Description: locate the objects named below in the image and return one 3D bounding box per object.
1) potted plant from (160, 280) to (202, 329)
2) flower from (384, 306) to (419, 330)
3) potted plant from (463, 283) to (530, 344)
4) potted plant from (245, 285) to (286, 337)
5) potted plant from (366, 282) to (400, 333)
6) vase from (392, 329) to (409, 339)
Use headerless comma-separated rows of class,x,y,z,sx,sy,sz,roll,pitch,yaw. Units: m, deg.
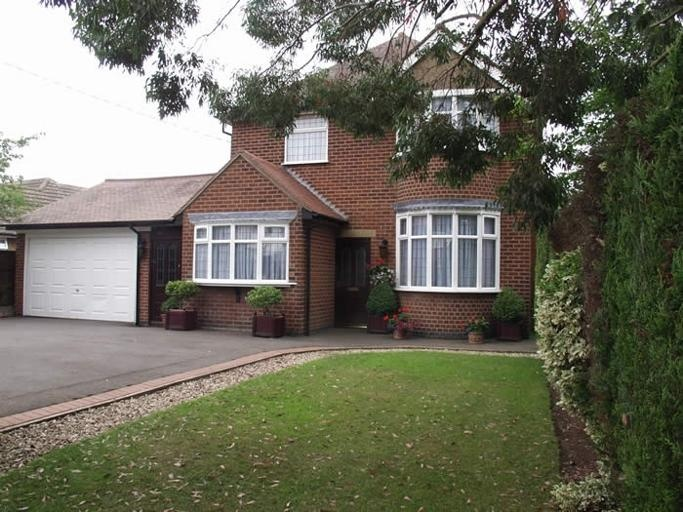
potted plant,-4.431,1.343,16.700,0.825,1.412,0.903,3,-3,22
flower,1.611,1.637,15.851,0.615,0.673,0.639,2,-5,-8
potted plant,4.023,1.482,15.726,1.499,1.598,1.210,-1,0,1
potted plant,-2.021,1.454,15.752,1.101,1.621,1.225,-1,0,8
potted plant,1.114,1.362,16.399,0.789,1.278,0.781,8,14,34
vase,1.532,1.996,15.477,0.282,0.294,0.268,1,-8,-7
